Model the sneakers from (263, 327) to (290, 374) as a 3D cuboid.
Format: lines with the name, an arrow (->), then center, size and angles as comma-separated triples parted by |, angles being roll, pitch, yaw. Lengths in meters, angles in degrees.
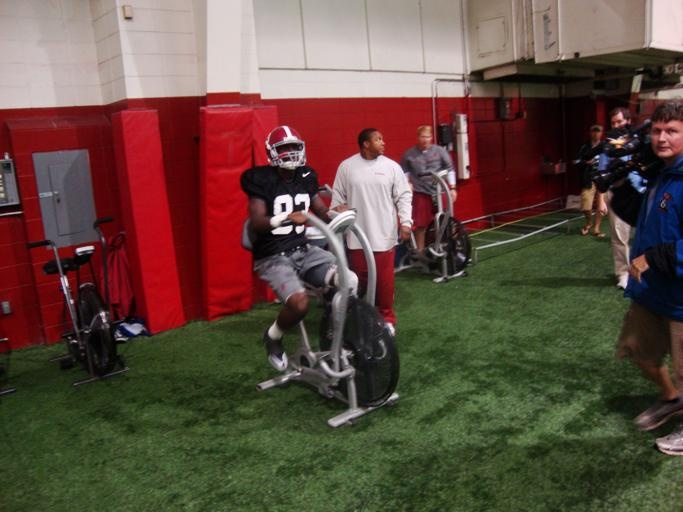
sneakers -> -0.512, 0.775, 4.007 | 0.159, 0.369, 0.152 | -19, -13, -39

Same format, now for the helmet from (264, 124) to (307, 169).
helmet -> -0.429, -0.841, 3.814 | 0.265, 0.268, 0.333 | -11, 22, -27

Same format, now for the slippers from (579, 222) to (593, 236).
slippers -> 4.198, -0.461, 8.474 | 0.187, 0.130, 0.504 | -4, 26, 36

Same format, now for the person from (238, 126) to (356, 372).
person -> -0.252, -0.066, 3.854 | 1.061, 1.715, 0.874 | 3, 18, 5

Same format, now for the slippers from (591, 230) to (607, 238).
slippers -> 4.205, -0.341, 8.059 | 0.180, 0.070, 0.100 | -2, 15, 38
